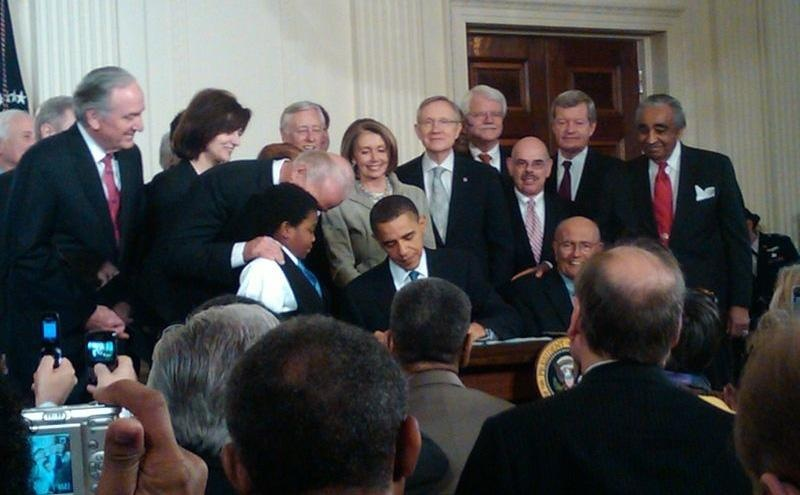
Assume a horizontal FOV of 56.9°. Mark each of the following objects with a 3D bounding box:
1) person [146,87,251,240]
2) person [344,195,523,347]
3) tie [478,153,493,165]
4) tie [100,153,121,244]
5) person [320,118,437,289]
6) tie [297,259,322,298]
[{"bbox_3d":[-1.218,-0.312,4.474,0.503,1.278,0.500,9,7,27],"label":"person"},{"bbox_3d":[0.088,0.107,4.296,0.698,0.377,1.010,-13,19,-2],"label":"person"},{"bbox_3d":[0.620,-0.641,5.341,0.073,0.037,0.102,-7,22,0],"label":"tie"},{"bbox_3d":[-1.632,-0.259,4.154,0.077,0.570,0.057,-2,-2,-6],"label":"tie"},{"bbox_3d":[-0.124,-0.221,4.738,0.688,1.153,0.629,-4,2,-1],"label":"person"},{"bbox_3d":[-0.484,0.171,4.012,0.065,0.197,0.151,-30,46,3],"label":"tie"}]
